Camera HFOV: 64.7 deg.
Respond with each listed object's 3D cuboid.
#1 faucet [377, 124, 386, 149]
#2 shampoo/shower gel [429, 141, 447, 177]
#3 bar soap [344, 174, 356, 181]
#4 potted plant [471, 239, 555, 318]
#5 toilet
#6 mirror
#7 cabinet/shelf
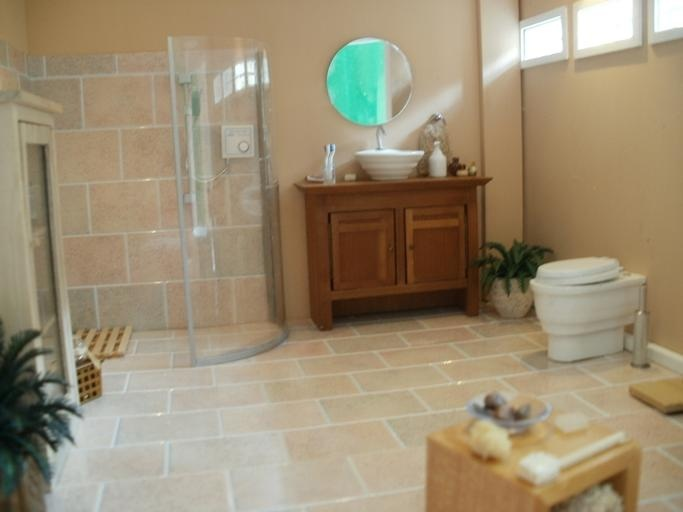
[{"bbox_3d":[0.311,-0.932,4.246,0.053,0.185,0.198,-1,12,13],"label":"faucet"},{"bbox_3d":[0.757,-0.766,4.274,0.132,0.266,0.173,0,12,20],"label":"shampoo/shower gel"},{"bbox_3d":[0.067,-0.612,4.166,0.066,0.032,0.066,0,16,2],"label":"bar soap"},{"bbox_3d":[1.336,0.181,4.291,0.549,0.565,0.538,-1,15,24],"label":"potted plant"},{"bbox_3d":[1.554,0.331,3.493,0.652,0.604,0.463,-9,11,-11],"label":"toilet"},{"bbox_3d":[0.185,-1.386,4.230,0.663,0.684,0.026,-2,8,-16],"label":"mirror"},{"bbox_3d":[0.352,-0.042,4.120,1.112,0.881,0.345,-3,6,-16],"label":"cabinet/shelf"}]
